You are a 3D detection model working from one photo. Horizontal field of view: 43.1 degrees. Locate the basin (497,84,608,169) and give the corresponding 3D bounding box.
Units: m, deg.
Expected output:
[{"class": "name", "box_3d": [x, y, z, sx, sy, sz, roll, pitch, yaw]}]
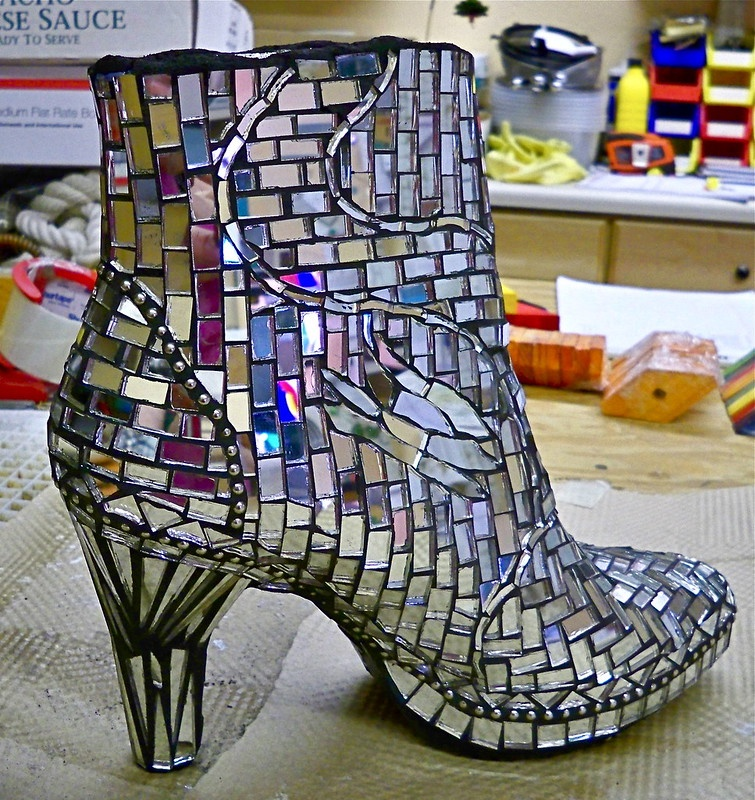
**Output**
[{"class": "basin", "box_3d": [0.273, -0.440, 1.541, 0.163, 0.099, 0.131, 13, 24, 28]}]
